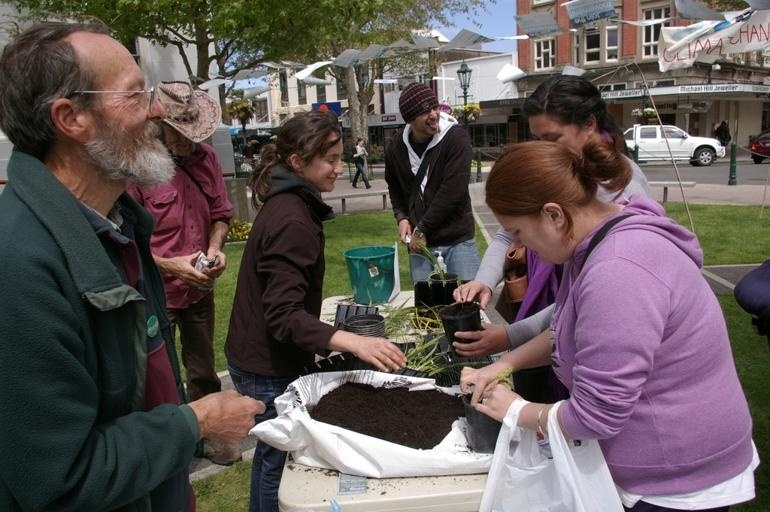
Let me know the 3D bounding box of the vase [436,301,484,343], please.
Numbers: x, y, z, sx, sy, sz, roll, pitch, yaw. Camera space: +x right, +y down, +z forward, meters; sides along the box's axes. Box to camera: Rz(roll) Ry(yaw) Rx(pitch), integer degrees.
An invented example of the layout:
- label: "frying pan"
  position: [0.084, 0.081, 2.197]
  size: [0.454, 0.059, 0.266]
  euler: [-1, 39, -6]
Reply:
- label: "vase"
  position: [0.370, 0.319, 2.710]
  size: [0.187, 0.153, 0.197]
  euler: [-14, 9, -12]

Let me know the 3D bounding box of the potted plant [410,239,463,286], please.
- label: "potted plant"
  position: [0.483, 0.054, 4.554]
  size: [0.329, 0.584, 0.313]
  euler: [-2, 6, 0]

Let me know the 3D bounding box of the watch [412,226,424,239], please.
- label: "watch"
  position: [0.280, -0.196, 4.484]
  size: [0.052, 0.096, 0.071]
  euler: [-4, 31, 1]

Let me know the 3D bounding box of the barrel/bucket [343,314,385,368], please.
- label: "barrel/bucket"
  position: [-0.106, 0.441, 2.737]
  size: [0.205, 0.099, 0.258]
  euler: [0, 2, -2]

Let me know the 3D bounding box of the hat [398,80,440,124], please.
- label: "hat"
  position: [0.289, -1.274, 4.589]
  size: [0.317, 0.303, 0.306]
  euler: [-19, 16, 34]

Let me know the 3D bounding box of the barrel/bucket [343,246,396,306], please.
- label: "barrel/bucket"
  position: [-0.124, 0.134, 4.005]
  size: [0.393, 0.436, 0.434]
  euler: [-1, 5, -8]

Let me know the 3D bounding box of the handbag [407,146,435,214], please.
- label: "handbag"
  position: [0.317, -0.659, 4.711]
  size: [0.246, 0.478, 0.108]
  euler: [6, 4, -14]

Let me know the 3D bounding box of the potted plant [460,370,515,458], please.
- label: "potted plant"
  position: [0.377, 0.652, 2.304]
  size: [0.263, 0.314, 0.281]
  euler: [-1, 5, -3]
